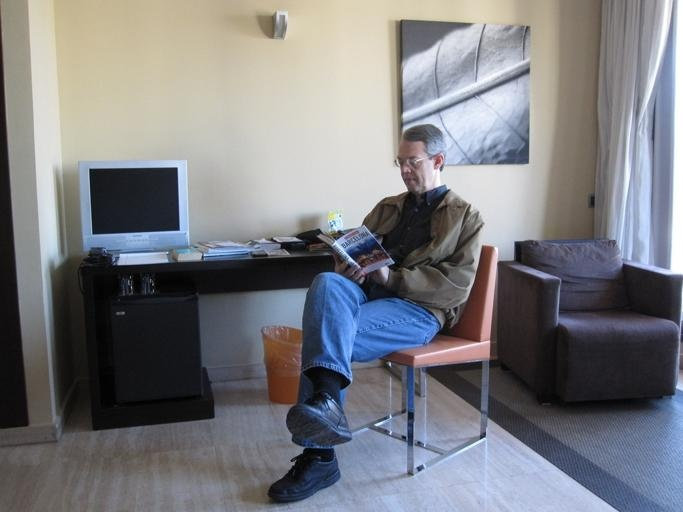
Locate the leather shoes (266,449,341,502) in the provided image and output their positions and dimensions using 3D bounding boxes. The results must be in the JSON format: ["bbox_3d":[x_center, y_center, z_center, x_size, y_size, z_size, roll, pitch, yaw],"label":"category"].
[{"bbox_3d":[-0.163,0.949,2.486,0.334,0.157,0.137,-3,8,-40],"label":"leather shoes"}]

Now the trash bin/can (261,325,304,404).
[{"bbox_3d":[-0.307,0.609,3.335,0.374,0.449,0.386,2,10,-1],"label":"trash bin/can"}]

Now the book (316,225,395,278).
[{"bbox_3d":[0.076,-0.047,2.577,0.259,0.256,0.096,-37,17,16],"label":"book"}]

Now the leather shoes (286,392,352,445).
[{"bbox_3d":[-0.086,0.664,2.324,0.168,0.202,0.341,-25,-36,21],"label":"leather shoes"}]

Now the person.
[{"bbox_3d":[0.187,0.186,2.588,0.687,1.567,1.246,7,16,29],"label":"person"}]

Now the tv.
[{"bbox_3d":[-1.170,-0.306,3.122,0.497,0.463,0.052,-2,5,-14],"label":"tv"}]
